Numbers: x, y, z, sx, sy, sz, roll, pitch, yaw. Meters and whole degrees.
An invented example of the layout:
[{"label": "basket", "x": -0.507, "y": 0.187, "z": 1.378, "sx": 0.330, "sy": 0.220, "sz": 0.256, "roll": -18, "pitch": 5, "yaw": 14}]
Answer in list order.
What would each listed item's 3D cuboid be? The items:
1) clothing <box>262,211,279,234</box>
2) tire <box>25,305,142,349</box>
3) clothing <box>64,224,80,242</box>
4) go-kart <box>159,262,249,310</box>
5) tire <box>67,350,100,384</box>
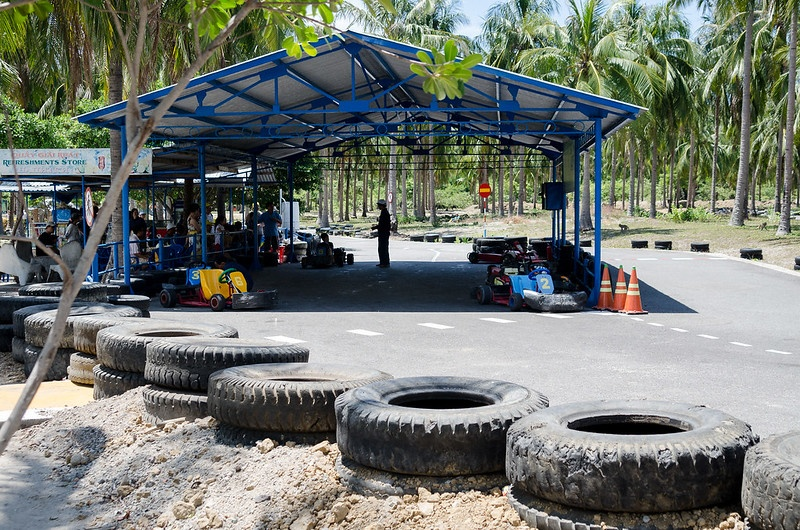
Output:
[{"label": "clothing", "x": -4.380, "y": -1.461, "z": 26.209, "sx": 0.667, "sy": 0.904, "sz": 0.458, "roll": 2, "pitch": -13, "yaw": -16}, {"label": "tire", "x": -4.521, "y": 0.747, "z": 10.424, "sx": 1.061, "sy": 0.326, "sz": 1.133, "roll": 1, "pitch": 2, "yaw": -7}, {"label": "clothing", "x": -9.216, "y": -0.907, "z": 21.767, "sx": 0.343, "sy": 0.580, "sz": 0.431, "roll": 6, "pitch": 25, "yaw": -26}, {"label": "go-kart", "x": -4.090, "y": 0.466, "z": 16.334, "sx": 1.407, "sy": 0.673, "sz": 1.032, "roll": -4, "pitch": -3, "yaw": 38}, {"label": "tire", "x": -3.983, "y": 1.277, "z": 9.861, "sx": 0.387, "sy": 0.332, "sz": 0.418, "roll": 6, "pitch": -2, "yaw": 22}]
